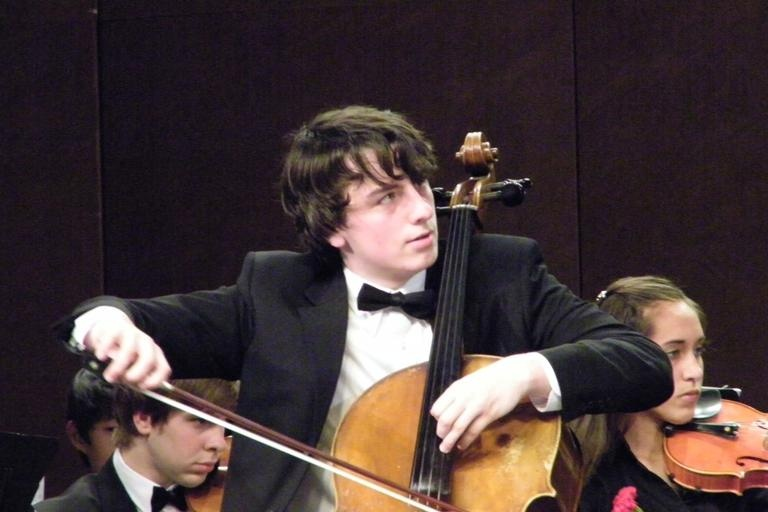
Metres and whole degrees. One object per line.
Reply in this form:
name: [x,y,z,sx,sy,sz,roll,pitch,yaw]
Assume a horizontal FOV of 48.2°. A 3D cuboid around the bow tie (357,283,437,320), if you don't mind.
bow tie: [0.053,0.186,3.364,0.295,0.081,0.127,5,52,1]
